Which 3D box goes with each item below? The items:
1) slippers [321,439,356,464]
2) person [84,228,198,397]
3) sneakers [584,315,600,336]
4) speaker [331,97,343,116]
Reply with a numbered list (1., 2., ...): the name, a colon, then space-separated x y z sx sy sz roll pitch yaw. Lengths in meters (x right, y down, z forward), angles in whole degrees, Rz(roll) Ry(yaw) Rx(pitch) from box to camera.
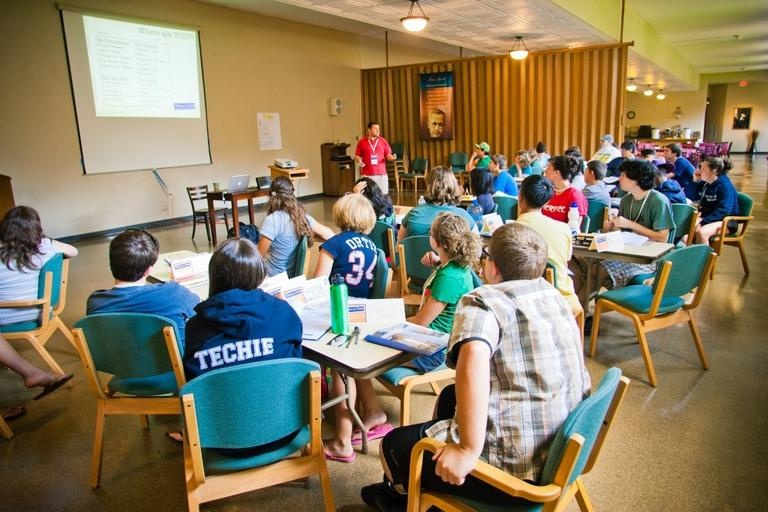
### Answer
1. slippers: -0.309 1.353 3.532 0.106 0.084 0.268 -5 6 -44
2. person: -1.699 0.358 3.612 0.749 1.088 0.655 5 17 8
3. sneakers: 2.024 0.683 4.999 0.145 0.078 0.244 4 38 35
4. speaker: -1.130 -3.615 12.218 0.231 0.484 0.503 1 6 15
